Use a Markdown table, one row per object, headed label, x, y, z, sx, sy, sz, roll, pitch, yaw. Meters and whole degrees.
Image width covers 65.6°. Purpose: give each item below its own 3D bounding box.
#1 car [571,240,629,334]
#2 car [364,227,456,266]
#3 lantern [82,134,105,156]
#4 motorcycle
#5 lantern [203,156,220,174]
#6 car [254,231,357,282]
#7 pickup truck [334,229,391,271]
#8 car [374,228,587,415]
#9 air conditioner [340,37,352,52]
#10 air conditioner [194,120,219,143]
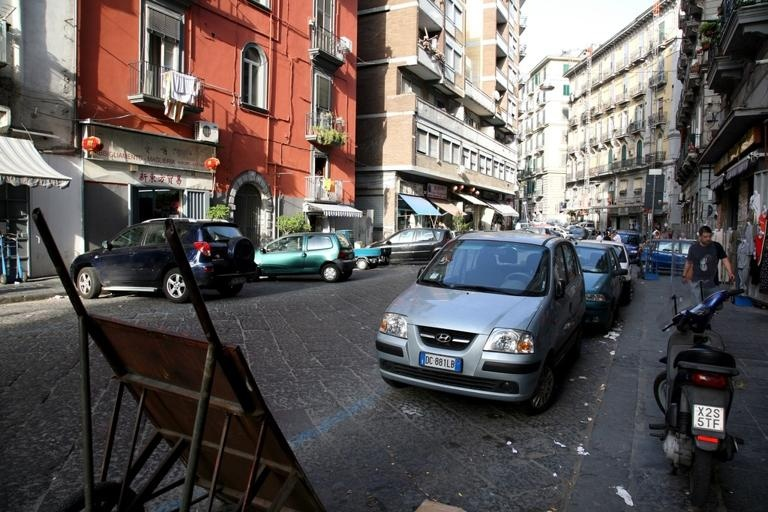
| label | x | y | z | sx | sy | sz | roll | pitch | yaw |
| --- | --- | --- | --- | --- | --- | --- | --- | --- | --- |
| car | 4.647 | 0.612 | 12.768 | 1.068 | 1.119 | 2.349 | 0 | 2 | 22 |
| car | 1.497 | -0.474 | 26.158 | 2.780 | 1.372 | 1.704 | 3 | 4 | 10 |
| lantern | -8.529 | -3.199 | 17.519 | 0.520 | 0.488 | 0.494 | 2 | -1 | -38 |
| motorcycle | 3.486 | 1.514 | 6.670 | 0.842 | 2.055 | 1.328 | 7 | 13 | 26 |
| lantern | -6.155 | -3.237 | 21.396 | 0.511 | 0.671 | 0.542 | -1 | -4 | 24 |
| car | -2.483 | 0.084 | 20.081 | 2.719 | 1.374 | 1.659 | 5 | 2 | 7 |
| pickup truck | -1.178 | -0.253 | 24.760 | 2.907 | 1.581 | 1.673 | -8 | -8 | -38 |
| car | 1.580 | 0.915 | 8.681 | 2.045 | 2.089 | 3.171 | 12 | 16 | 42 |
| air conditioner | -1.843 | -10.263 | 28.962 | 0.371 | 0.672 | 1.578 | 2 | 12 | 6 |
| air conditioner | -6.276 | -4.337 | 21.013 | 0.377 | 0.849 | 0.884 | -1 | 0 | 25 |
